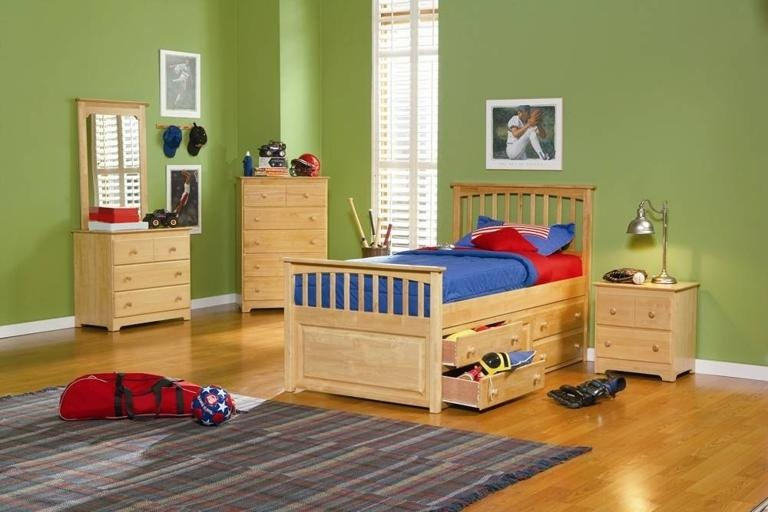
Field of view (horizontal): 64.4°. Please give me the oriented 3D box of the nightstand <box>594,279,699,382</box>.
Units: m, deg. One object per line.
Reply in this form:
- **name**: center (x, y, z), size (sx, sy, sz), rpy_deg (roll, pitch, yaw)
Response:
- **nightstand**: center (2.151, 0.596, 4.945), size (0.547, 0.640, 0.730), rpy_deg (3, -3, -42)

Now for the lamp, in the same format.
- **lamp**: center (2.194, -0.129, 4.991), size (0.380, 0.649, 0.560), rpy_deg (4, 11, 21)

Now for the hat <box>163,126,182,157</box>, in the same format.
- **hat**: center (-2.481, -1.332, 7.089), size (0.237, 0.332, 0.197), rpy_deg (2, 10, -36)

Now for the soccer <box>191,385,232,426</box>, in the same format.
- **soccer**: center (-1.041, 0.915, 3.682), size (0.241, 0.213, 0.227), rpy_deg (19, -11, -43)

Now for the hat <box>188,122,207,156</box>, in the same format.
- **hat**: center (-2.239, -1.393, 7.240), size (0.203, 0.367, 0.242), rpy_deg (10, 10, 32)

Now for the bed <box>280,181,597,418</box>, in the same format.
- **bed**: center (0.467, 0.161, 5.038), size (1.739, 1.325, 2.406), rpy_deg (3, 11, 34)

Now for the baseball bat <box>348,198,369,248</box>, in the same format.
- **baseball bat**: center (-0.317, -0.432, 7.587), size (0.107, 0.657, 0.102), rpy_deg (-21, -3, -43)

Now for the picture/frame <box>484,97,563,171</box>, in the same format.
- **picture/frame**: center (1.314, -1.138, 5.673), size (0.140, 0.648, 0.823), rpy_deg (-22, 22, -36)

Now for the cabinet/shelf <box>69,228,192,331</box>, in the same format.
- **cabinet/shelf**: center (-2.724, 0.240, 6.676), size (0.743, 0.870, 1.069), rpy_deg (2, 3, 26)

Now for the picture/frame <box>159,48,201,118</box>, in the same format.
- **picture/frame**: center (-2.401, -2.015, 7.166), size (0.084, 0.759, 0.544), rpy_deg (9, 14, 42)

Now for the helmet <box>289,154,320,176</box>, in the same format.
- **helmet**: center (-0.936, -1.084, 7.336), size (0.335, 0.194, 0.250), rpy_deg (4, -7, -43)
